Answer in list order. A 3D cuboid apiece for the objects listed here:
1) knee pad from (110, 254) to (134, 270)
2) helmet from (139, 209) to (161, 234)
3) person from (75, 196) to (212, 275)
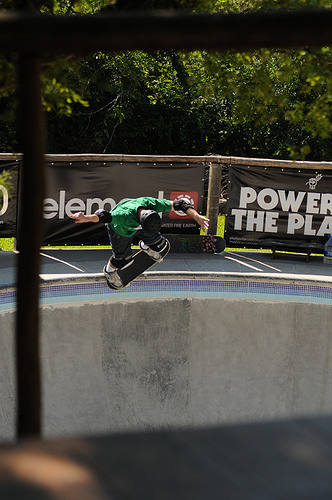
[{"bbox_3d":[-0.578,0.160,5.987,0.168,0.230,0.108,4,9,10],"label":"knee pad"},{"bbox_3d":[-0.179,-0.328,5.371,0.207,0.234,0.266,-28,-14,-11],"label":"helmet"},{"bbox_3d":[-0.374,-0.214,6.835,0.963,0.572,1.105,-26,-25,-15],"label":"person"}]
